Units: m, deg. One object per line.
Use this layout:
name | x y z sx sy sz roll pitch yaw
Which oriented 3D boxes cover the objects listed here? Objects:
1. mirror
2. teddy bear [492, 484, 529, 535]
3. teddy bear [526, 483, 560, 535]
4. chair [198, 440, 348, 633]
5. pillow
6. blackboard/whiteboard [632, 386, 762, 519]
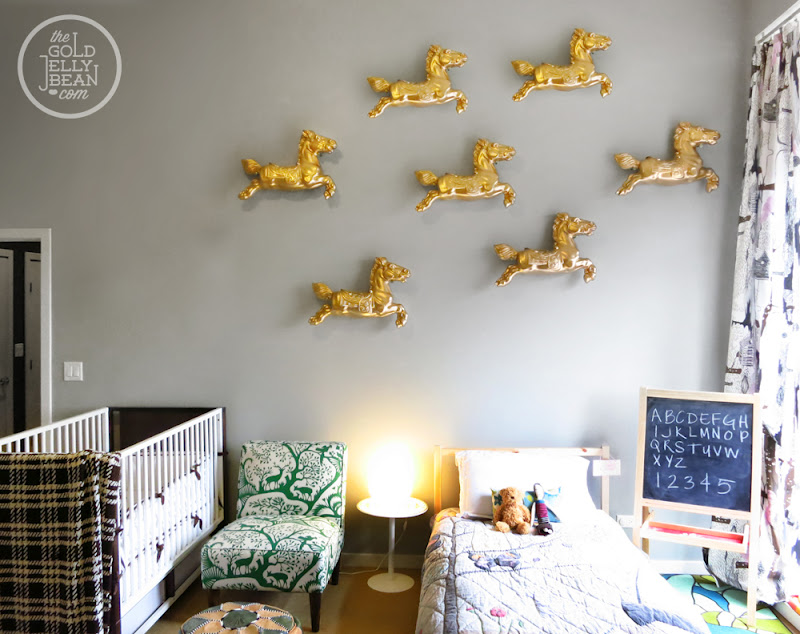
mirror | -2.341 0.048 4.570 0.333 0.368 1.158 0 -73 -8
teddy bear | 0.602 1.060 3.951 0.188 0.187 0.272 5 -108 -8
teddy bear | 0.785 1.048 4.024 0.098 0.282 0.127 1 -73 -5
chair | -0.728 1.178 4.376 0.688 0.938 1.022 0 -100 6
pillow | 0.667 0.936 4.166 0.585 0.371 0.174 -1 -39 -1
blackboard/whiteboard | 1.674 0.788 4.092 0.626 0.047 0.803 -2 -66 17
